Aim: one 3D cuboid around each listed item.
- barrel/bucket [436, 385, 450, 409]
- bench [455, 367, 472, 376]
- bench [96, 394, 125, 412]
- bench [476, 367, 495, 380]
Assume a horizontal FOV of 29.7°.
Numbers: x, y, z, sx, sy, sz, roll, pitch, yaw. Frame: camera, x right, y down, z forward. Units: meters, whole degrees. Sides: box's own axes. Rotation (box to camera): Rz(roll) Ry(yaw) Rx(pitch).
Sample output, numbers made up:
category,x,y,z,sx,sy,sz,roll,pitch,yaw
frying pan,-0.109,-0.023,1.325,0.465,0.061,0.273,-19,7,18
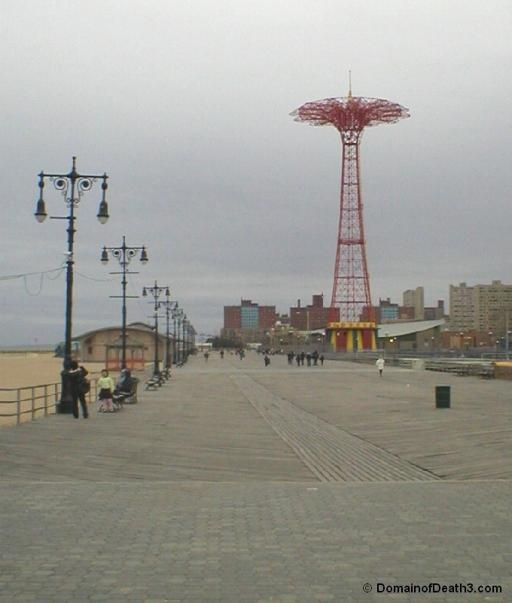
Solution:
category,x,y,z,sx,sy,sz,roll,pitch,yaw
barrel/bucket,4.535,2.318,23.434,0.436,0.656,0.451,1,1,0
bench,10.024,3.383,46.560,0.629,0.379,0.539,-4,-3,22
bench,-3.462,2.446,23.193,0.529,0.267,0.883,0,-7,-8
bench,10.078,3.130,41.985,0.425,0.659,0.658,0,-1,-5
